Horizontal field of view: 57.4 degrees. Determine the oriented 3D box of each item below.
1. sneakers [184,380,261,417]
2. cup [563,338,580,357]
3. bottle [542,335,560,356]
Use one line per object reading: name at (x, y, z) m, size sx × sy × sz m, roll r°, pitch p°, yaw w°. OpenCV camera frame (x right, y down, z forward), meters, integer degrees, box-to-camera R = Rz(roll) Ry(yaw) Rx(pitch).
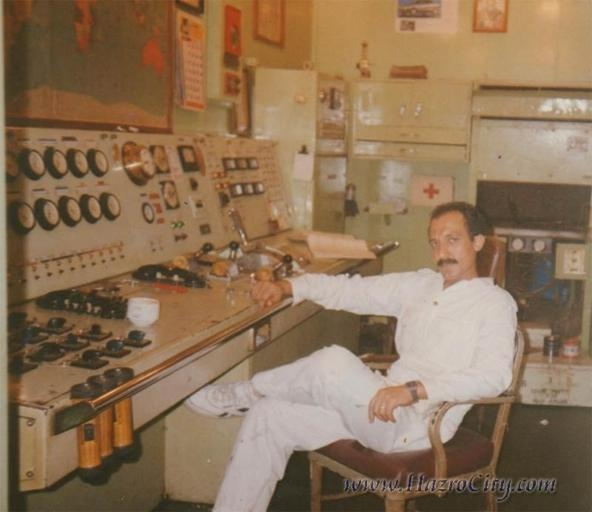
sneakers at (-0.270, 0.552, 2.102) m, size 0.378 × 0.126 × 0.148 m, roll 0°, pitch 1°, yaw 2°
cup at (1.883, 0.636, 3.759) m, size 0.150 × 0.105 × 0.098 m, roll -2°, pitch -2°, yaw 24°
bottle at (1.736, 0.631, 3.770) m, size 0.131 × 0.141 × 0.125 m, roll 2°, pitch -2°, yaw -28°
